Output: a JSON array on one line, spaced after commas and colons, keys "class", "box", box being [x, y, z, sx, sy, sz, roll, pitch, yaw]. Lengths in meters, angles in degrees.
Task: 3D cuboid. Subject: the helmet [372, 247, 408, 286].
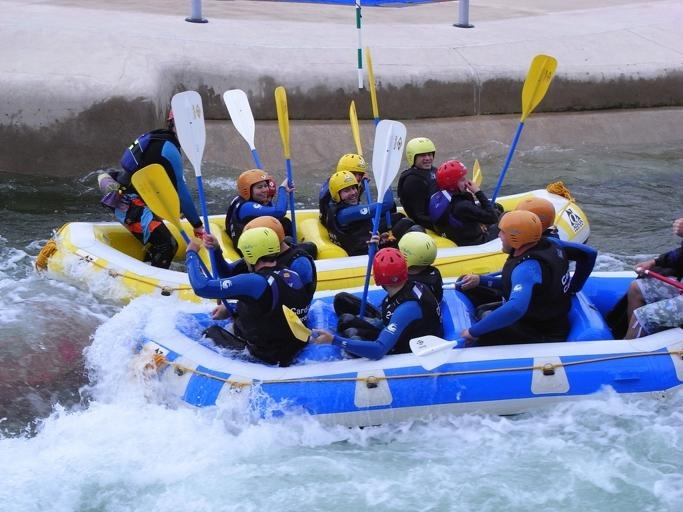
[{"class": "helmet", "box": [0.359, 0.068, 7.040, 0.270, 0.217, 0.302, -7, 29, -11]}]

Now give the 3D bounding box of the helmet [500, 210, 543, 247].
[{"class": "helmet", "box": [1.400, -0.215, 7.101, 0.383, 0.225, 0.274, 5, 15, 37]}]

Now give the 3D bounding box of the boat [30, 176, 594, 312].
[{"class": "boat", "box": [-0.223, 0.057, 8.733, 4.504, 0.574, 1.685, -5, 23, -14]}]
